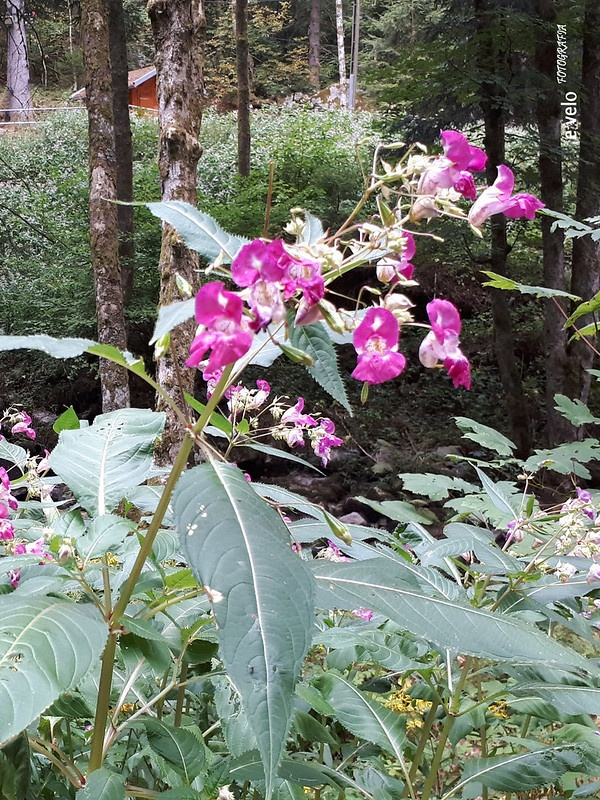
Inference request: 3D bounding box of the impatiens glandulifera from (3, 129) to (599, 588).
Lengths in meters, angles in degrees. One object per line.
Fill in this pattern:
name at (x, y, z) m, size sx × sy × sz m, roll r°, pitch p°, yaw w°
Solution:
impatiens glandulifera at (0.008, -0.119, 1.650) m, size 1.034 × 0.802 × 0.434 m, roll -10°, pitch 14°, yaw -41°
